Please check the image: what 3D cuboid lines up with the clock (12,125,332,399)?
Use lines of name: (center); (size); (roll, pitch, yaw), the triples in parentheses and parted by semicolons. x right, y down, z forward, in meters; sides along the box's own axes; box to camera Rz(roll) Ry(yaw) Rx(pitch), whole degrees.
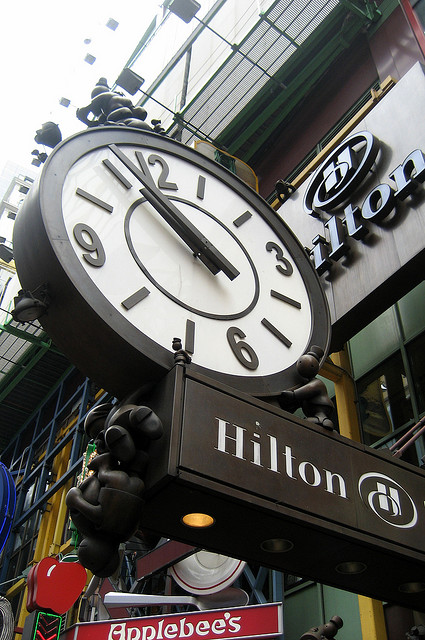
clock: (-0.153, -0.312, 3.260); (1.869, 2.022, 0.352); (22, -45, -27)
